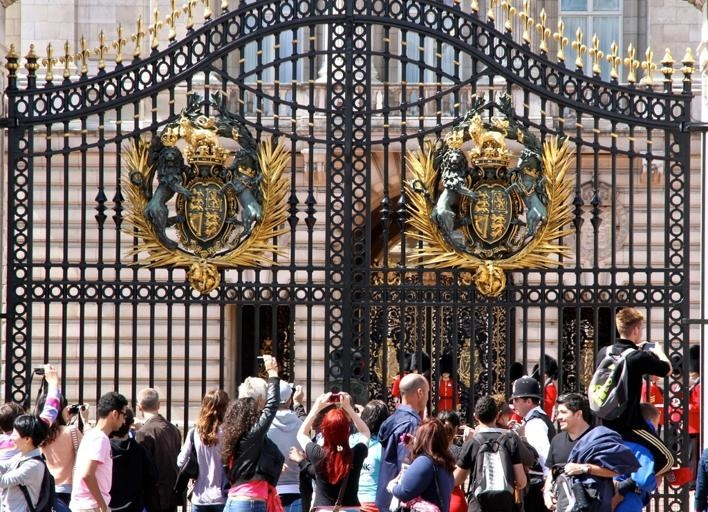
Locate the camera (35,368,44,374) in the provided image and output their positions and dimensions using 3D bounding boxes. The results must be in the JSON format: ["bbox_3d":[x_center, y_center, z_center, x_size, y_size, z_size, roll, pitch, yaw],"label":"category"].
[{"bbox_3d":[-3.969,1.437,23.008,0.093,0.047,0.121,2,3,-1],"label":"camera"}]

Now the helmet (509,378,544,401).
[{"bbox_3d":[2.130,1.657,23.040,0.321,0.197,0.283,3,-3,-7],"label":"helmet"}]

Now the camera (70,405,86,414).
[{"bbox_3d":[-3.445,1.881,22.732,0.118,0.109,0.208,6,-3,3],"label":"camera"}]

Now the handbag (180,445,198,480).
[{"bbox_3d":[-1.997,2.460,22.008,0.182,0.360,0.389,12,-2,4],"label":"handbag"}]

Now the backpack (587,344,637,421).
[{"bbox_3d":[3.092,1.519,22.287,0.466,0.825,0.495,10,11,43],"label":"backpack"}]

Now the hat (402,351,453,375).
[{"bbox_3d":[1.017,1.585,27.215,0.725,0.161,0.637,1,-29,0],"label":"hat"}]

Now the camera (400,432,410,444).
[{"bbox_3d":[0.591,2.133,21.585,0.097,0.139,0.260,3,-7,-16],"label":"camera"}]

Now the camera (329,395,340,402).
[{"bbox_3d":[-0.256,1.681,21.919,0.108,0.099,0.028,7,-1,9],"label":"camera"}]

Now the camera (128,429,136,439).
[{"bbox_3d":[-2.792,2.201,22.901,0.132,0.155,0.089,1,0,1],"label":"camera"}]
